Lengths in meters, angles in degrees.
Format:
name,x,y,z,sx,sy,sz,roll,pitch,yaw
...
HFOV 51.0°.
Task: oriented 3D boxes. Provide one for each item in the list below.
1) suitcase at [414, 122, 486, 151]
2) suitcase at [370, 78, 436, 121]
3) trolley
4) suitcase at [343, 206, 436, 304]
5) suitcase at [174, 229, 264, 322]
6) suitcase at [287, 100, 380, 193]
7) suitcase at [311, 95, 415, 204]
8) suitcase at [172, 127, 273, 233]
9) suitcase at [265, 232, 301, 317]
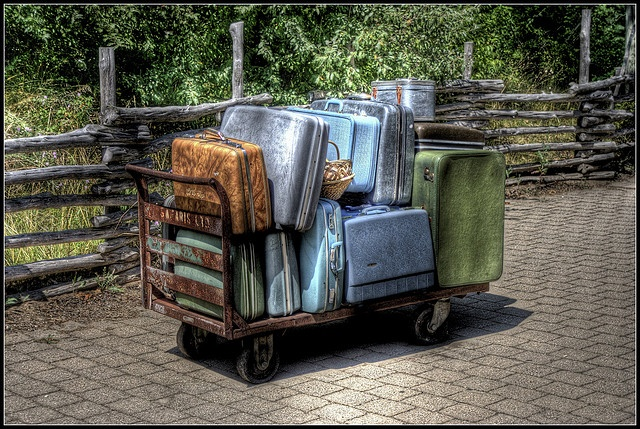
name,x,y,z,sx,sy,sz,roll,pitch,yaw
suitcase,1.402,-0.830,7.172,0.900,0.302,0.188,-5,11,-24
suitcase,0.928,-1.302,7.715,0.450,0.487,0.748,-6,10,-33
trolley,-0.002,0.611,7.261,3.389,1.813,1.617,-7,11,-36
suitcase,0.555,0.405,6.902,1.112,0.890,0.592,-9,6,-32
suitcase,-0.936,0.440,6.514,0.574,0.832,0.983,-10,26,-40
suitcase,0.219,-0.660,7.128,0.345,0.829,1.032,2,10,-30
suitcase,0.424,-0.640,7.287,0.425,1.077,1.253,4,-3,-39
suitcase,-0.877,-0.284,6.175,0.472,0.702,0.905,-15,21,-42
suitcase,-0.356,0.567,6.334,0.345,0.809,0.121,-7,13,-28
